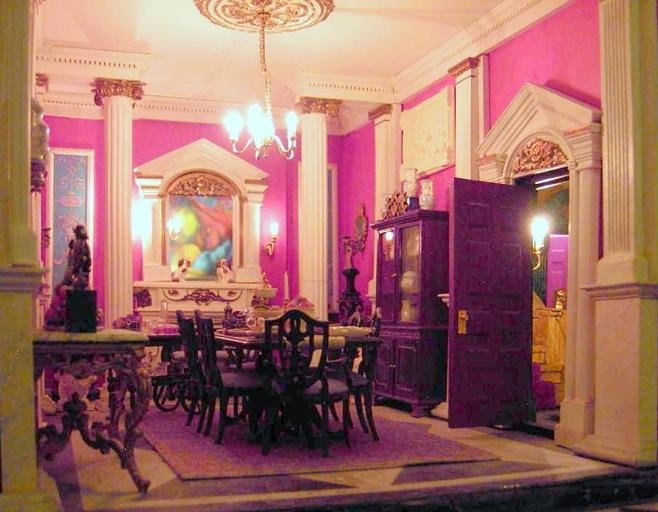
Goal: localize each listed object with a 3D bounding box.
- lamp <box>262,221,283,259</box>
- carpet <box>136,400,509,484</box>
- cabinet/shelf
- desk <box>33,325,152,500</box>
[{"bbox_3d":[-0.942,-0.288,10.348,0.278,0.593,0.160,1,-3,-16],"label":"lamp"},{"bbox_3d":[-0.460,1.798,6.452,2.841,0.043,3.439,3,-6,-20],"label":"carpet"},{"bbox_3d":[0.993,0.701,7.686,0.607,2.294,1.015,3,-3,-28],"label":"cabinet/shelf"},{"bbox_3d":[-1.715,1.092,4.329,0.889,1.067,0.906,4,-7,-34],"label":"desk"}]
